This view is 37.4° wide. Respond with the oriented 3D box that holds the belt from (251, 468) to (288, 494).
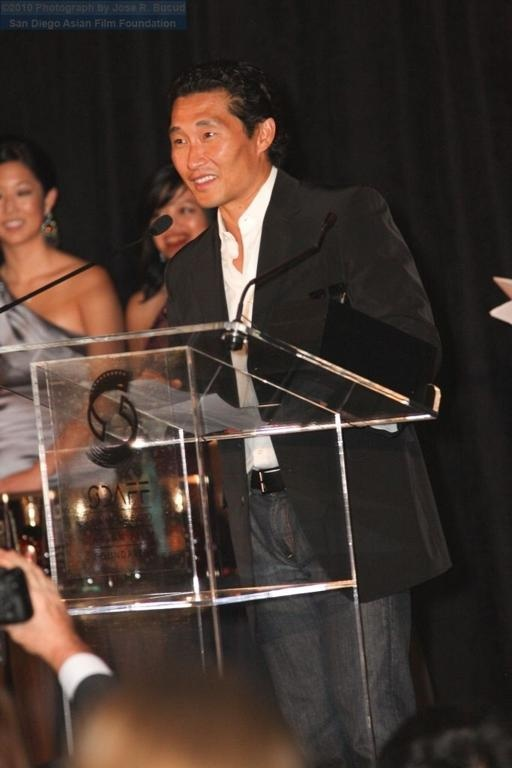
[{"bbox_3d":[0.019,0.152,1.181,0.035,0.015,0.044,-15,12,-24],"label":"belt"}]
